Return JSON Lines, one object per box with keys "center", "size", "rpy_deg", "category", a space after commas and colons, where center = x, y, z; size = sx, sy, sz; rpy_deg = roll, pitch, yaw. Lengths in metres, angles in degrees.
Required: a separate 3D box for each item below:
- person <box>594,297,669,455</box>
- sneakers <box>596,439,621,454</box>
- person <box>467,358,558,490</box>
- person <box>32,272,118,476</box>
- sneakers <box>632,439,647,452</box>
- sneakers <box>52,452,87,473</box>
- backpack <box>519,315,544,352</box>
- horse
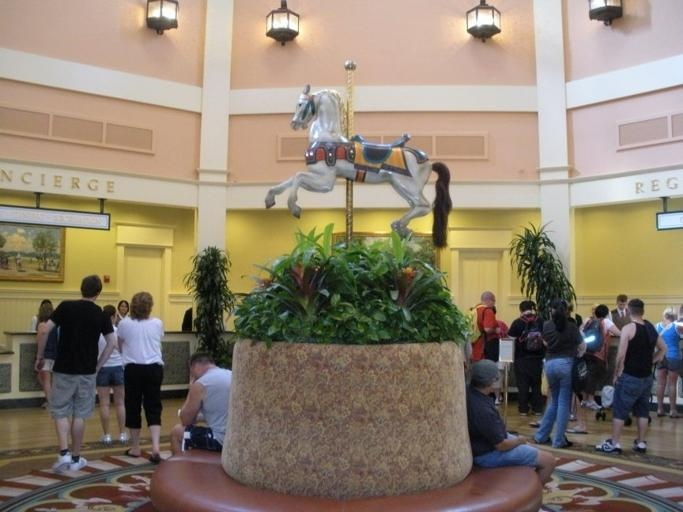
{"center": [3.186, 1.300, 6.705], "size": [0.530, 1.652, 0.666], "rpy_deg": [-3, -5, 43], "category": "person"}
{"center": [2.872, 2.062, 6.638], "size": [0.112, 0.164, 0.322], "rpy_deg": [6, -7, -44], "category": "sneakers"}
{"center": [1.347, 1.428, 4.873], "size": [0.695, 1.201, 0.504], "rpy_deg": [-2, 5, -2], "category": "person"}
{"center": [-2.489, 1.109, 5.878], "size": [0.569, 1.847, 0.194], "rpy_deg": [2, -4, -28], "category": "person"}
{"center": [3.257, 2.079, 6.688], "size": [0.075, 0.099, 0.221], "rpy_deg": [1, -5, 8], "category": "sneakers"}
{"center": [-2.582, 1.947, 5.830], "size": [0.300, 0.171, 0.200], "rpy_deg": [2, -4, -26], "category": "sneakers"}
{"center": [2.681, 1.095, 8.585], "size": [0.313, 0.489, 0.474], "rpy_deg": [1, -27, 7], "category": "backpack"}
{"center": [0.245, -0.910, 6.370], "size": [1.767, 1.666, 0.606], "rpy_deg": [1, -4, -5], "category": "horse"}
